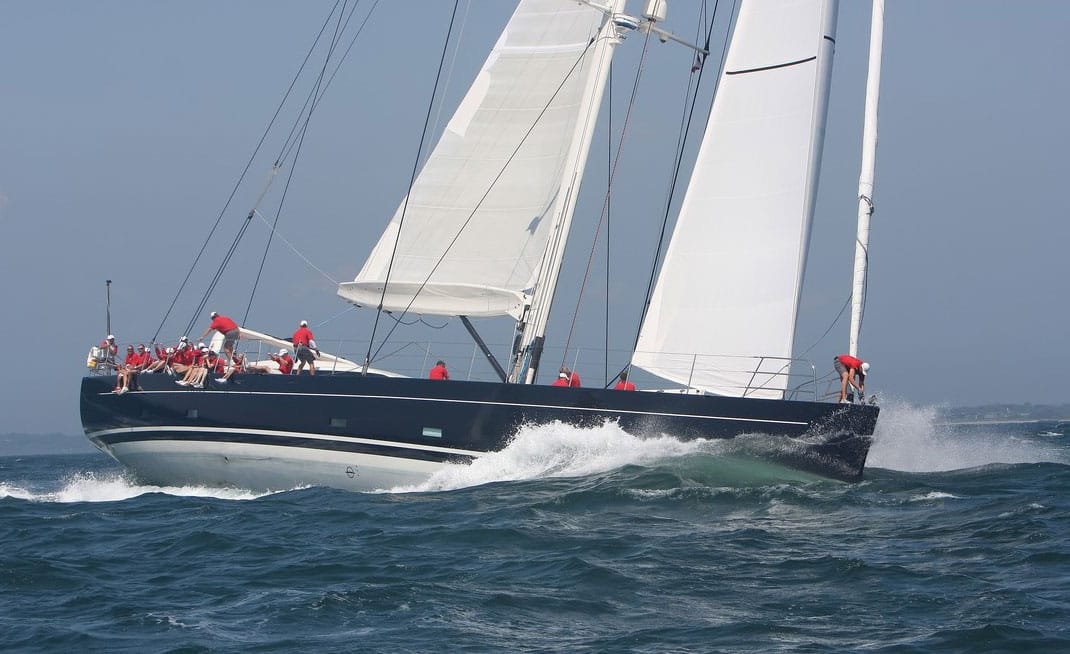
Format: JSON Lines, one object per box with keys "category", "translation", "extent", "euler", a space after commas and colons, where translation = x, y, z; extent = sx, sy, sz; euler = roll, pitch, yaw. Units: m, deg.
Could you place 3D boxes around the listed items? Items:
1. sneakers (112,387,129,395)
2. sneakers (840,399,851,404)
{"category": "sneakers", "translation": [-7.553, 1.160, 24.443], "extent": [0.217, 0.096, 0.122], "euler": [3, 2, 13]}
{"category": "sneakers", "translation": [4.827, 1.159, 20.809], "extent": [0.069, 0.083, 0.189], "euler": [4, -6, -33]}
